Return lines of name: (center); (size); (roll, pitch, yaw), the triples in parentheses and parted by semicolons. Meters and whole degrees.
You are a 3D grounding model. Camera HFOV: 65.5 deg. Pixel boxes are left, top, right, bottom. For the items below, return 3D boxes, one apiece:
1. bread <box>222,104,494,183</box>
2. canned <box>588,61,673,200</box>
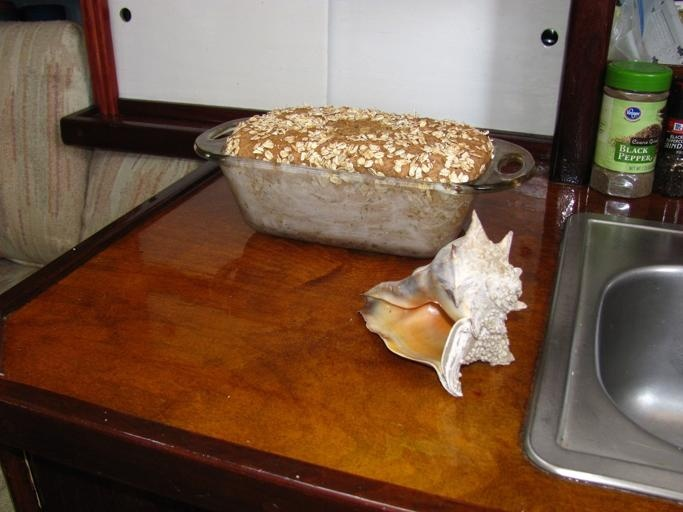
bread: (0.009, -0.145, 0.688); (0.298, 0.042, 0.148); (4, 22, 15)
canned: (0.436, -0.185, 0.809); (0.101, 0.194, 0.054); (12, 32, 21)
